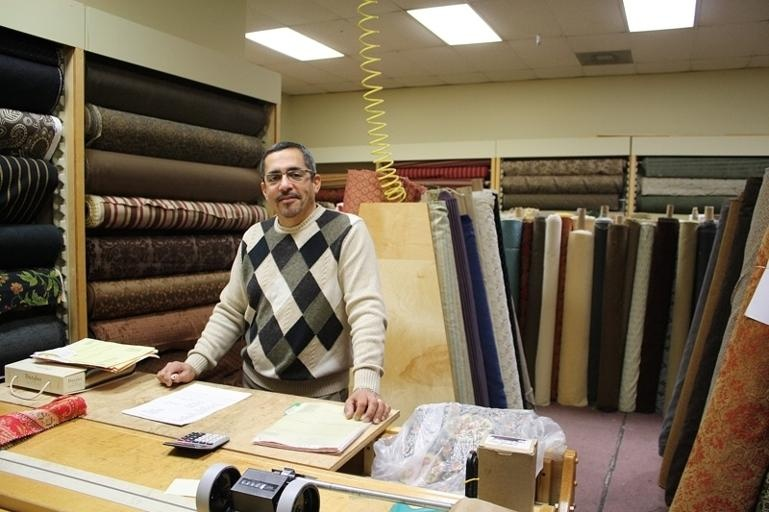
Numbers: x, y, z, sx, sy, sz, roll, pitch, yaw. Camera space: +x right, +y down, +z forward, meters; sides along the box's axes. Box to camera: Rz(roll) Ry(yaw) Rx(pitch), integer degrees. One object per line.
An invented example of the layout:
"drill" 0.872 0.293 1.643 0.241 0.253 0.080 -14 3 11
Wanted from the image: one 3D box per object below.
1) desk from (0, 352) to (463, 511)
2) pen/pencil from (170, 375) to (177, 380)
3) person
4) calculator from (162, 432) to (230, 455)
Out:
"desk" -0.560 0.746 2.021 1.688 0.250 0.699 3 7 27
"pen/pencil" -0.998 0.571 2.357 0.024 0.024 0.015 21 -40 -26
"person" -0.444 0.329 2.576 1.239 1.734 0.908 -1 7 29
"calculator" -0.707 0.687 1.851 0.225 0.040 0.108 0 7 6
